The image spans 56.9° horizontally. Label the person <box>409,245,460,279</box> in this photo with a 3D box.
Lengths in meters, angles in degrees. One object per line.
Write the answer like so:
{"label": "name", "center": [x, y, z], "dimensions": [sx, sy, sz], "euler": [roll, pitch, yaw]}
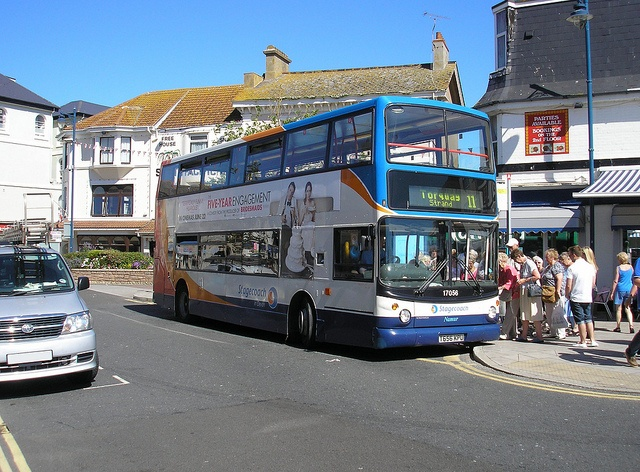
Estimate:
{"label": "person", "center": [2.354, 0.546, 11.950], "dimensions": [0.595, 0.402, 0.783], "euler": [1, -5, -32]}

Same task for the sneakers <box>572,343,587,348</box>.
{"label": "sneakers", "center": [5.690, 2.392, 12.835], "dimensions": [0.248, 0.108, 0.091], "euler": [-1, 2, 44]}

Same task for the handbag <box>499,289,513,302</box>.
{"label": "handbag", "center": [4.451, 1.426, 13.968], "dimensions": [0.305, 0.367, 0.237], "euler": [9, 0, 37]}

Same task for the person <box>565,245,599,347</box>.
{"label": "person", "center": [5.693, 1.348, 12.742], "dimensions": [0.629, 2.178, 0.715], "euler": [0, 1, 25]}

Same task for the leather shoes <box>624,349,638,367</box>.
{"label": "leather shoes", "center": [5.853, 2.299, 11.075], "dimensions": [0.166, 0.234, 0.478], "euler": [-3, 5, -12]}

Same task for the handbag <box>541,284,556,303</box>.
{"label": "handbag", "center": [5.429, 1.352, 13.874], "dimensions": [0.365, 0.435, 0.221], "euler": [-5, -4, 35]}

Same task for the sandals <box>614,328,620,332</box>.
{"label": "sandals", "center": [7.733, 2.443, 15.192], "dimensions": [0.083, 0.103, 0.245], "euler": [-2, 2, 1]}

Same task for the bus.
{"label": "bus", "center": [-0.880, -0.099, 16.987], "dimensions": [3.524, 5.445, 12.213], "euler": [1, -2, -36]}
